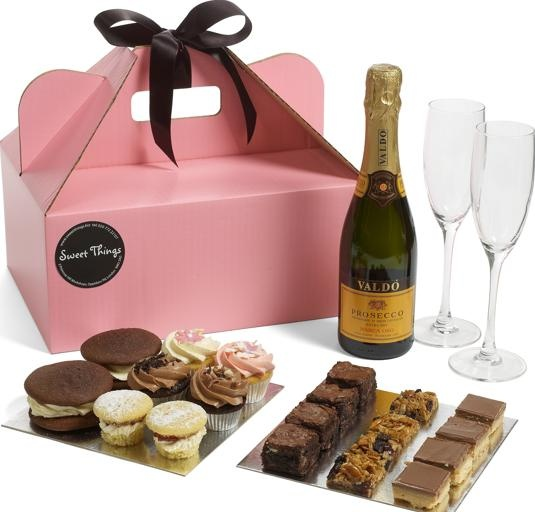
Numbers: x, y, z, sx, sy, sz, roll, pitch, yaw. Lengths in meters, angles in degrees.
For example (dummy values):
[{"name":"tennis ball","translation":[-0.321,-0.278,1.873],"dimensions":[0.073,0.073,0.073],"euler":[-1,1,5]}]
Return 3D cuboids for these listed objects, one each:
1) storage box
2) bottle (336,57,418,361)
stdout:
[{"name":"storage box","translation":[-0.241,-0.132,1.603],"dimensions":[1.061,0.765,0.489],"euler":[-8,29,-19]},{"name":"bottle","translation":[0.282,-0.085,1.452],"dimensions":[0.191,0.732,0.173],"euler":[1,25,6]}]
